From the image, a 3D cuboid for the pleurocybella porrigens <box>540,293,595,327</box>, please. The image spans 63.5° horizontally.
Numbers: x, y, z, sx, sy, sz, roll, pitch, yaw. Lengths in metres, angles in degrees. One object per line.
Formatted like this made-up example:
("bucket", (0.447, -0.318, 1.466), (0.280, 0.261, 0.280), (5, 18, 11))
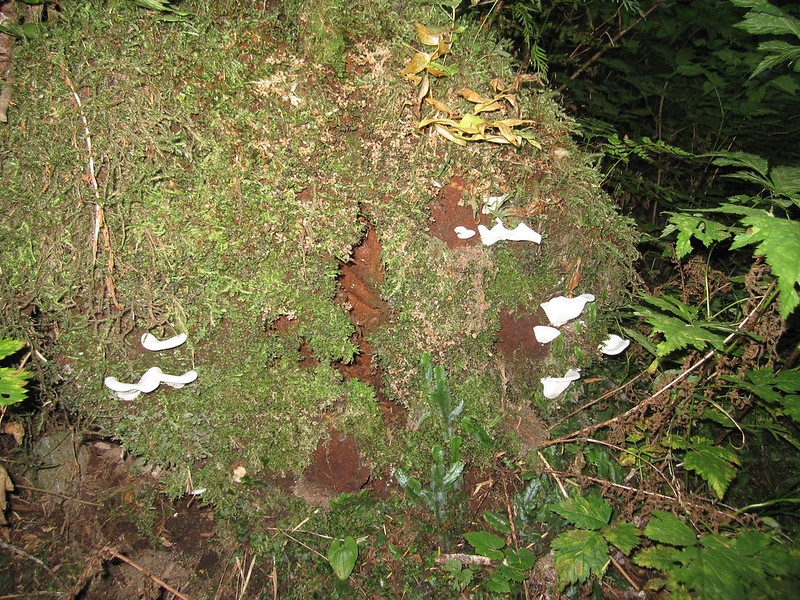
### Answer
("pleurocybella porrigens", (1.256, 0.061, 4.857), (0.272, 0.271, 0.103), (54, 14, -7))
